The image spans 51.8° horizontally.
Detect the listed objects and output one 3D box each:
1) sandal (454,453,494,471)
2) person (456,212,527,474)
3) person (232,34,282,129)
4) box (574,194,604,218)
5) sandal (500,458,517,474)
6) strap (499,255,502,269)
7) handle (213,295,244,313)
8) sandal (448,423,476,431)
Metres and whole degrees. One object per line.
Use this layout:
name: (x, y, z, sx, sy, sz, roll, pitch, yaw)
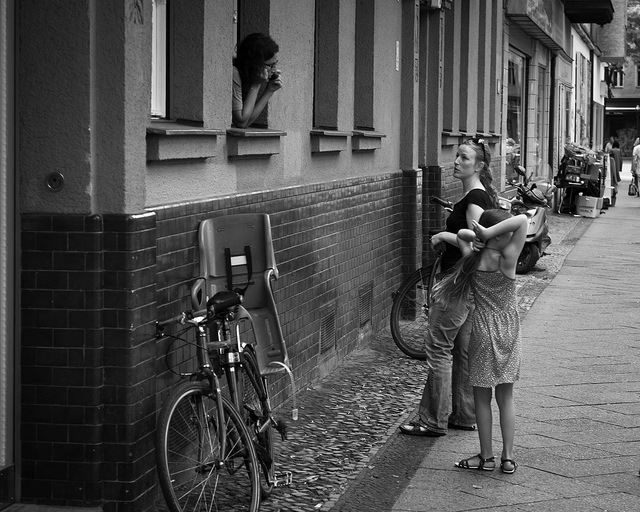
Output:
sandal: (1.044, 1.406, 4.472, 0.223, 0.098, 0.090, 4, 1, 15)
person: (1.196, 0.577, 4.641, 0.417, 1.750, 0.903, 2, 5, 15)
person: (-0.556, -1.303, 5.377, 0.399, 0.853, 0.413, 2, 21, -21)
box: (9.951, -1.834, 24.362, 0.943, 0.813, 0.741, 2, 5, 9)
sandal: (1.278, 1.402, 4.423, 0.124, 0.098, 0.069, 0, 5, -10)
strap: (1.176, 0.039, 4.292, 0.009, 0.089, 0.021, 1, 4, 0)
handle: (-0.491, 0.253, 3.493, 0.112, 0.032, 0.021, -28, 32, -37)
sandal: (1.144, 1.379, 5.328, 0.206, 0.047, 0.037, 2, 5, 5)
